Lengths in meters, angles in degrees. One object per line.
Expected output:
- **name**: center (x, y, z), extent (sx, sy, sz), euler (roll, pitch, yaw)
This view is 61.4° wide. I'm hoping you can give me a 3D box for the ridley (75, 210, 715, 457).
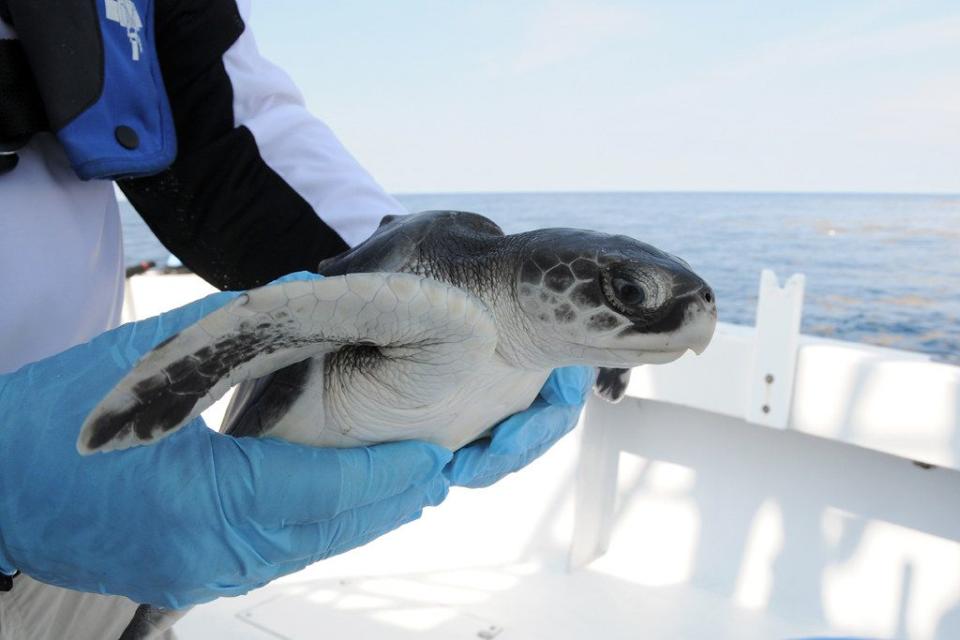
- **ridley**: center (-0.108, 0.116, 1.909), extent (1.221, 0.545, 0.443), euler (-2, 63, -1)
